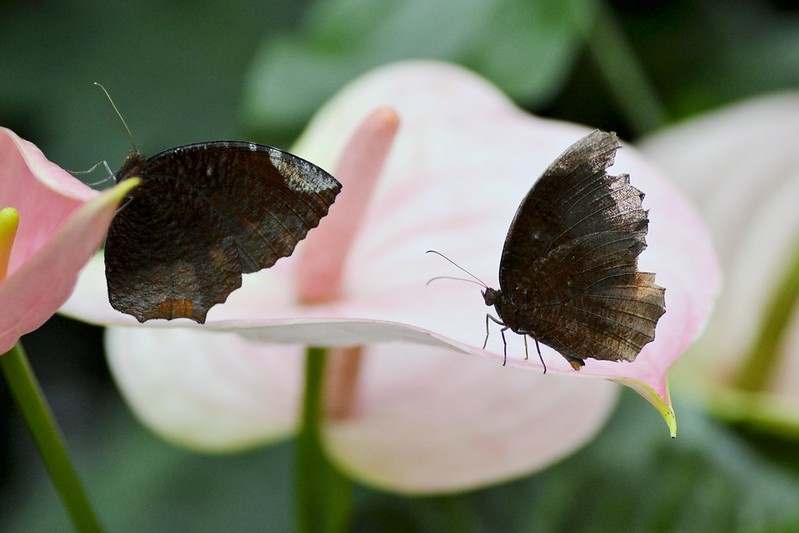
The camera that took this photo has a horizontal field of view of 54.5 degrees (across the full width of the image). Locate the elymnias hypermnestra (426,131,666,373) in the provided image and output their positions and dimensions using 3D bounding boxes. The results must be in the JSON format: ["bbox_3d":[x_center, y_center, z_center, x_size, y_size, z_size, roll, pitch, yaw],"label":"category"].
[{"bbox_3d":[0.103,-0.005,0.429,0.089,0.054,0.129,22,85,5],"label":"elymnias hypermnestra"}]
